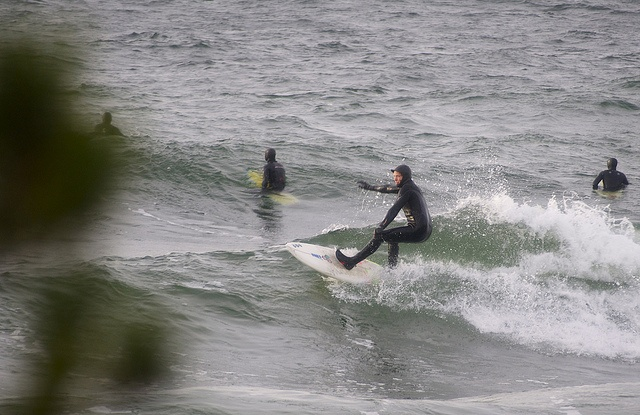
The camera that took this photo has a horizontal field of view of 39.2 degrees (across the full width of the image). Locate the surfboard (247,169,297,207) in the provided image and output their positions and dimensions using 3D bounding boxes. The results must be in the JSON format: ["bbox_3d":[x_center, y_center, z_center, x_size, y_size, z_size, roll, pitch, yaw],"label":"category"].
[{"bbox_3d":[-1.752,-0.632,30.072,2.487,0.265,0.687,23,65,42],"label":"surfboard"}]
